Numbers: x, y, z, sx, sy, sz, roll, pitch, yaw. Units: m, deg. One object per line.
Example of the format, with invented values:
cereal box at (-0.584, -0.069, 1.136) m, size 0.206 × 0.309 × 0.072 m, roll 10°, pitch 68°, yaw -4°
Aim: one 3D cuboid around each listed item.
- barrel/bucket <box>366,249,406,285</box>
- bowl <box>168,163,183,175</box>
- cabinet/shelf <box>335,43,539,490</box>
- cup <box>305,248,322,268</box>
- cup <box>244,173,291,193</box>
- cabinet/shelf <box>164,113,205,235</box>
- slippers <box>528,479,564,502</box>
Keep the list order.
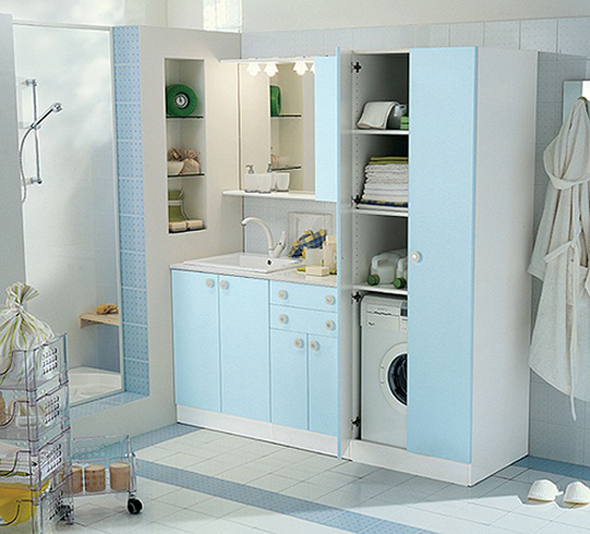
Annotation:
barrel/bucket at (0.522, -0.001, 3.600) m, size 0.155 × 0.076 × 0.222 m, roll 13°, pitch 23°, yaw 36°
bowl at (-0.787, -0.669, 4.310) m, size 0.060 × 0.093 × 0.153 m, roll 2°, pitch 8°, yaw 26°
cabinet/shelf at (0.771, -0.025, 3.487) m, size 0.976 × 2.356 × 0.659 m, roll 2°, pitch 8°, yaw 26°
cup at (0.126, -0.059, 3.996) m, size 0.106 × 0.097 × 0.057 m, roll 12°, pitch 22°, yaw 32°
cup at (-0.185, -0.601, 4.481) m, size 0.236 × 0.094 × 0.162 m, roll 1°, pitch 13°, yaw 4°
cabinet/shelf at (-0.793, -0.650, 4.404) m, size 0.219 × 0.817 × 0.329 m, roll 5°, pitch 10°, yaw 45°
slippers at (1.245, 1.128, 3.157) m, size 0.122 × 0.082 × 0.081 m, roll 18°, pitch 49°, yaw 20°
